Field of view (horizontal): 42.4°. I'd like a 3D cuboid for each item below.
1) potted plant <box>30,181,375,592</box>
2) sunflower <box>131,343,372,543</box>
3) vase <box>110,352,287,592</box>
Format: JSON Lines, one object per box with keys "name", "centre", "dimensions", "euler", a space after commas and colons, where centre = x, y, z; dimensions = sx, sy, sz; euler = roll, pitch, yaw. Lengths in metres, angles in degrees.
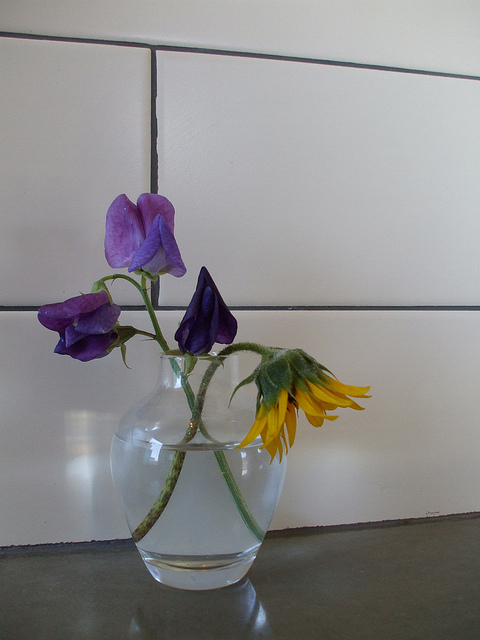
{"name": "potted plant", "centre": [-0.035, 0.054, 0.523], "dimensions": [0.280, 0.314, 0.137], "euler": [5, 0, 4]}
{"name": "sunflower", "centre": [0.002, 0.105, 0.466], "dimensions": [0.139, 0.163, 0.108], "euler": [19, 30, 31]}
{"name": "vase", "centre": [-0.033, 0.123, 0.532], "dimensions": [0.145, 0.180, 0.143], "euler": [1, 2, 32]}
